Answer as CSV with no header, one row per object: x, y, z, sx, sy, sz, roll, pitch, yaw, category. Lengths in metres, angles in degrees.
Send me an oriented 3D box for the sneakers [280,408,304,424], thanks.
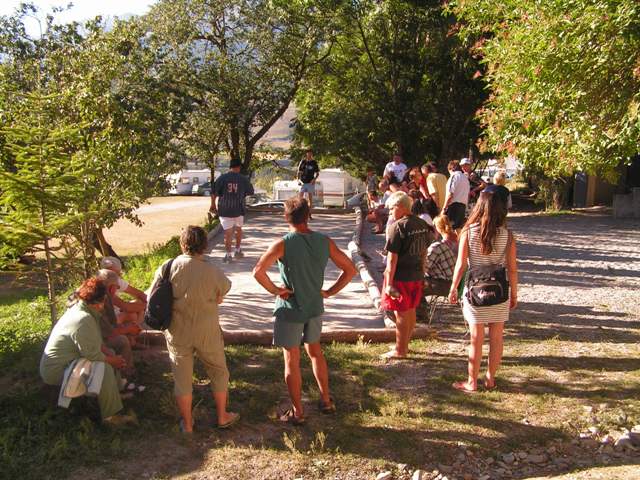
-0.329,2.023,6.749,0.306,0.131,0.123,6,10,38,sneakers

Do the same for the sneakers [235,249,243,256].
-1.841,0.288,13.440,0.082,0.174,0.237,4,27,15,sneakers

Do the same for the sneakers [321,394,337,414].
0.077,1.959,6.987,0.106,0.111,0.230,0,9,-4,sneakers

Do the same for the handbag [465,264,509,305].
2.000,0.554,7.072,0.405,0.448,0.228,-1,-15,4,handbag

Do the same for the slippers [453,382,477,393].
1.812,1.855,7.397,0.314,0.155,0.101,-2,7,14,slippers

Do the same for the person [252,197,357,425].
-0.213,0.818,6.662,1.084,2.584,0.363,0,5,-8,person

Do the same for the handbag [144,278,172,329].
-1.735,0.714,6.376,0.289,0.547,0.145,0,5,-15,handbag

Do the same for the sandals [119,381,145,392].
-2.313,1.822,7.276,0.305,0.088,0.116,6,19,5,sandals

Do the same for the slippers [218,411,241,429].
-1.029,2.064,6.663,0.102,0.137,0.271,13,22,23,slippers
